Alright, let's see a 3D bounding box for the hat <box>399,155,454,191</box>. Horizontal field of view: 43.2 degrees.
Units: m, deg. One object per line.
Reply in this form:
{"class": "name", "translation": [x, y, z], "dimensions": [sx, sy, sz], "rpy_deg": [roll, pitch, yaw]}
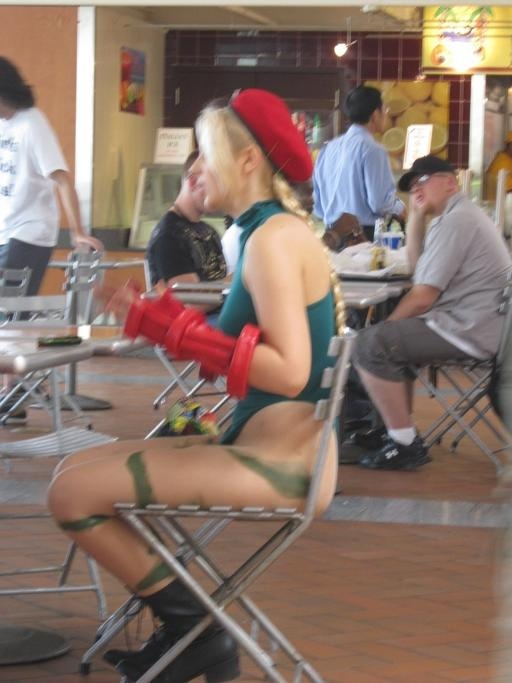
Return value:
{"class": "hat", "translation": [1.159, -1.164, 4.473], "dimensions": [0.379, 0.162, 0.234], "rpy_deg": [0, 2, 1]}

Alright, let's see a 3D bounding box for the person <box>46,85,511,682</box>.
{"class": "person", "translation": [-0.088, 0.097, 1.269], "dimensions": [0.506, 1.236, 0.478], "rpy_deg": [1, 3, 7]}

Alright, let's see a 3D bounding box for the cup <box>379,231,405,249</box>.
{"class": "cup", "translation": [0.970, -0.721, 4.614], "dimensions": [0.216, 0.128, 0.192], "rpy_deg": [-1, 5, 10]}
